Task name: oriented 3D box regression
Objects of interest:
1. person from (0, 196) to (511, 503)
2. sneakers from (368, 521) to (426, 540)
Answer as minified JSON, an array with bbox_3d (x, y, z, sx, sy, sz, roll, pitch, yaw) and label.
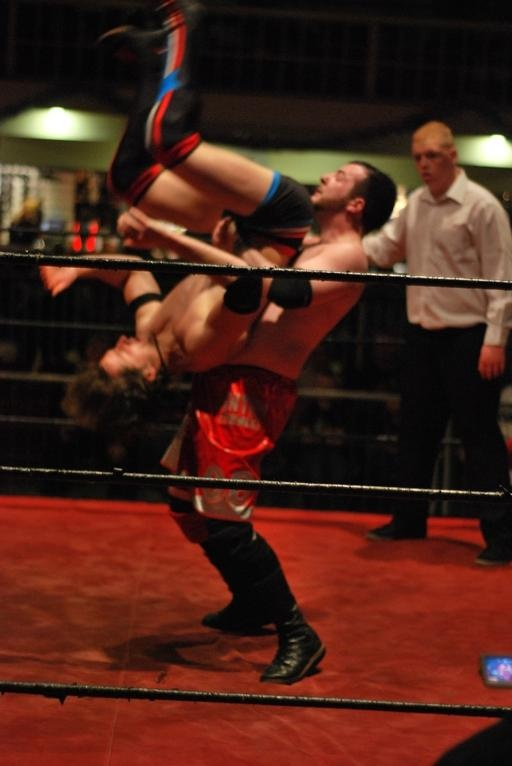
[{"bbox_3d":[-0.128,-0.142,1.698,0.878,0.320,0.775,3,-5,-14],"label":"person"},{"bbox_3d":[0.347,0.362,2.011,0.147,0.051,0.044,2,-23,6],"label":"sneakers"}]
